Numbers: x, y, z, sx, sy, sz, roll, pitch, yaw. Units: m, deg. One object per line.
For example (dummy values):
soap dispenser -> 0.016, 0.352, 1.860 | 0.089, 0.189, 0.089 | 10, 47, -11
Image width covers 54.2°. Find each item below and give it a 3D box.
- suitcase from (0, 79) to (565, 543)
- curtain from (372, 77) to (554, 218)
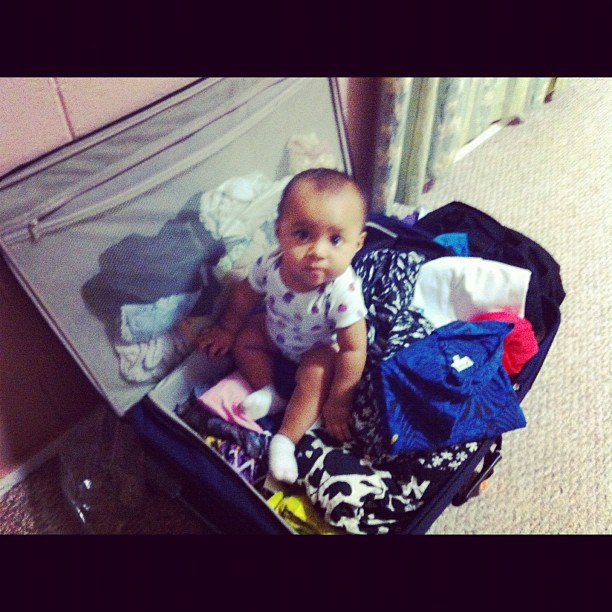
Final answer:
suitcase -> -0.089, 0.044, 1.229 | 0.656, 0.417, 0.573 | -41, 65, -21
curtain -> 0.363, -0.365, 1.366 | 0.261, 0.271, 0.030 | -20, 43, -18
